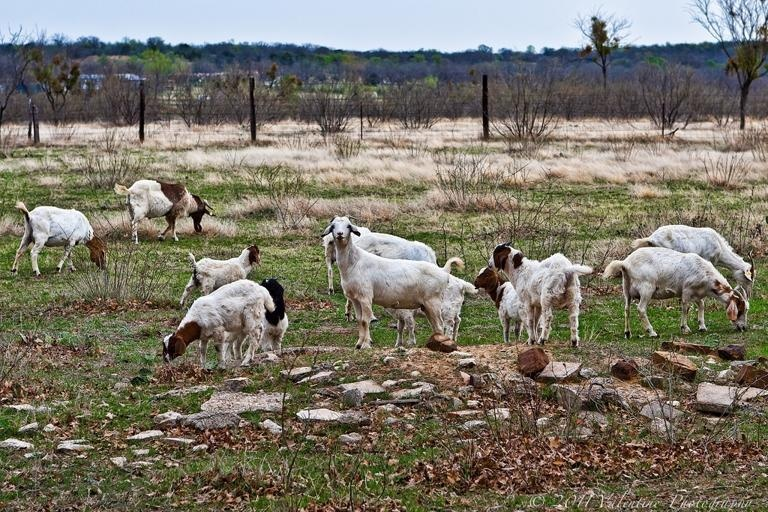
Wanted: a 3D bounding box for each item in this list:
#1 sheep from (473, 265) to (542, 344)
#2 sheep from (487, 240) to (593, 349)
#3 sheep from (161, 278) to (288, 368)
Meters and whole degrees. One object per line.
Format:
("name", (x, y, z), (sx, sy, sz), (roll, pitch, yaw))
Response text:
("sheep", (2.811, 1.084, 23.580), (0.682, 1.584, 1.927), (-5, 11, -38))
("sheep", (3.259, 0.805, 22.584), (0.811, 2.061, 2.928), (1, 0, -33))
("sheep", (-3.244, 1.311, 21.769), (2.536, 1.661, 1.263), (-3, 8, -16))
